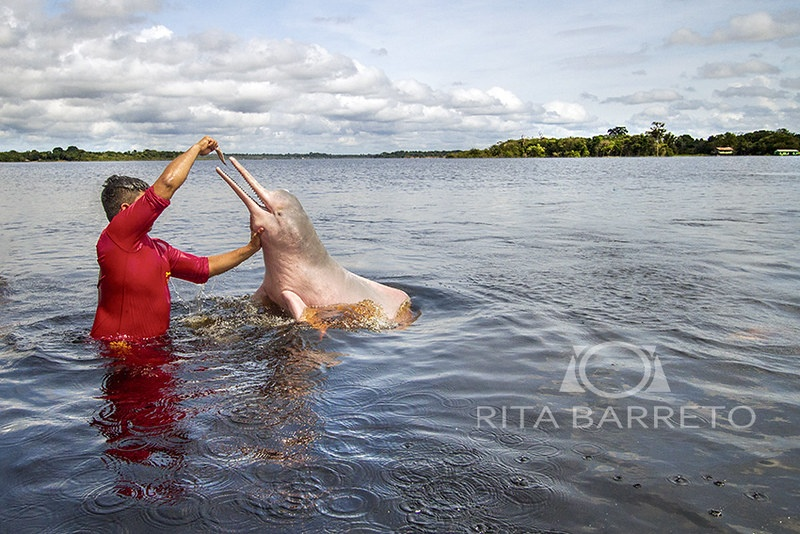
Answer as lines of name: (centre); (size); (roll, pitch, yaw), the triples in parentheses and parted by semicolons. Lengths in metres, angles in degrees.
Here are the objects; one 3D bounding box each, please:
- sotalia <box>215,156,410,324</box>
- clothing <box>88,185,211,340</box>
sotalia: (-1.113, -0.142, 9.462); (3.496, 2.101, 2.187); (11, 4, -22)
clothing: (-3.010, -0.037, 7.524); (1.102, 1.778, 0.969); (-11, 14, -40)
